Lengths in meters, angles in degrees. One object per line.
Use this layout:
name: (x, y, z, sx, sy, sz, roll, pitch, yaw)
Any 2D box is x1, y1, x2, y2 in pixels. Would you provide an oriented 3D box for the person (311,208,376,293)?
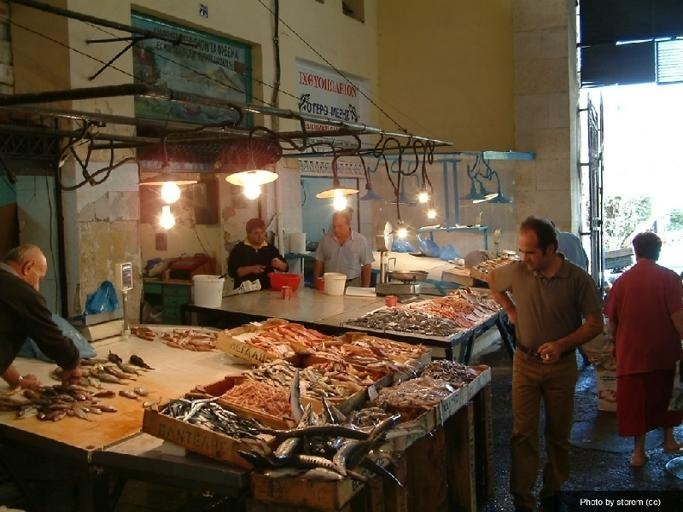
person: (0.024, -0.092, 8.443, 0.854, 1.182, 0.525, -1, 11, 1)

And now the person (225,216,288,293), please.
person: (-1.253, -0.031, 8.560, 0.768, 1.037, 0.545, -9, 14, -37)

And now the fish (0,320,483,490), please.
fish: (-0.571, 1.288, 4.705, 3.530, 0.860, 1.986, 1, 11, 9)

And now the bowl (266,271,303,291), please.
bowl: (-0.830, 0.393, 8.188, 0.451, 0.276, 0.512, 0, 11, 5)

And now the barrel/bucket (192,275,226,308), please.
barrel/bucket: (-1.697, 0.442, 7.389, 0.389, 0.307, 0.383, 0, -2, 0)

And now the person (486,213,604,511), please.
person: (1.788, 0.985, 5.183, 0.894, 2.640, 0.833, 4, 12, 25)

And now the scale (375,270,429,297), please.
scale: (0.791, 0.373, 7.782, 0.482, 0.230, 0.406, 0, 2, 36)

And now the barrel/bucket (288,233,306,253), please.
barrel/bucket: (-0.787, -0.249, 10.724, 0.343, 0.361, 0.334, 2, 10, 0)

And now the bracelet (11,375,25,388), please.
bracelet: (-2.736, 1.048, 4.936, 0.083, 0.076, 0.080, 7, 11, 32)

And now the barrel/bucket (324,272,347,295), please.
barrel/bucket: (-0.107, 0.378, 8.073, 0.309, 0.296, 0.241, 0, 11, 4)

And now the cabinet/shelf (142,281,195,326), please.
cabinet/shelf: (-2.759, 0.737, 9.349, 0.829, 0.747, 0.298, 1, 0, 33)
